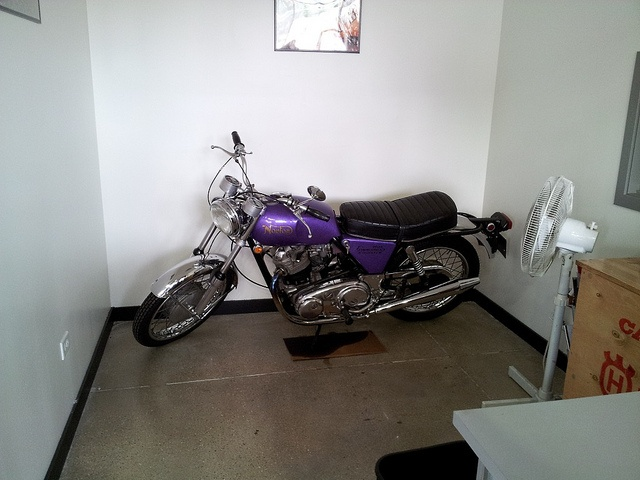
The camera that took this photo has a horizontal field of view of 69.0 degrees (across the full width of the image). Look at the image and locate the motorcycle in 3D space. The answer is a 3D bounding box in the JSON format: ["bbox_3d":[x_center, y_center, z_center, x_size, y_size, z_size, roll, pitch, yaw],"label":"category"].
[{"bbox_3d":[-0.080,0.003,3.234,1.964,1.198,0.817,-3,49,-9],"label":"motorcycle"}]
